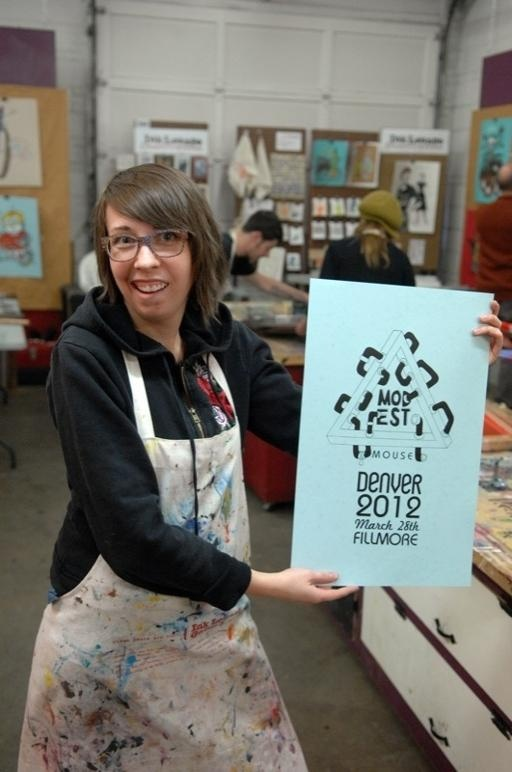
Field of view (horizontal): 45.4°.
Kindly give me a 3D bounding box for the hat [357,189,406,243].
[{"bbox_3d":[0.448,-0.611,2.145,0.159,0.133,0.119,29,39,21],"label":"hat"}]
